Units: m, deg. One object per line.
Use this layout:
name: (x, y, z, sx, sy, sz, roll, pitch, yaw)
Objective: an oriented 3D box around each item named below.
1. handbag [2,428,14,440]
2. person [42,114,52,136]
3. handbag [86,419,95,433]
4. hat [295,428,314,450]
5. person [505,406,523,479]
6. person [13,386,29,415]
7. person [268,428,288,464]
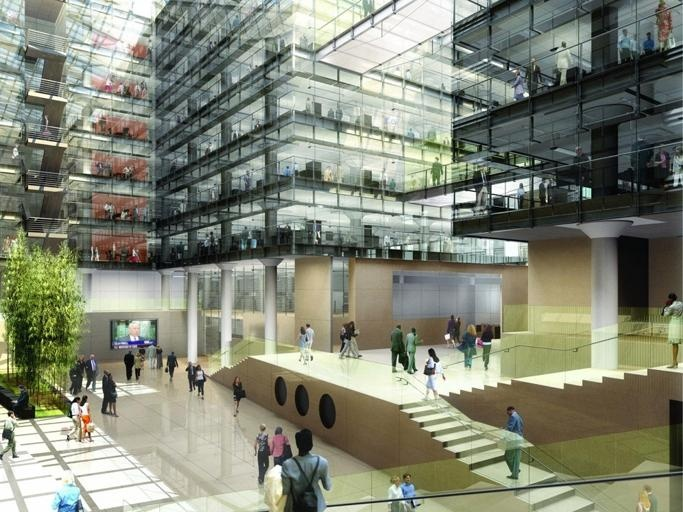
handbag: (-13.734, 7.340, 24.904, 0.427, 0.555, 0.526, 2, 3, -18)
person: (-19.176, -8.487, 39.144, 0.507, 1.555, 1.973, -6, 2, -26)
handbag: (-11.226, 7.647, 27.061, 0.429, 0.646, 0.462, 3, -5, -18)
hat: (-0.794, 3.905, 13.009, 0.337, 0.468, 0.477, 4, 6, 20)
person: (5.822, 6.334, 20.266, 0.606, 1.787, 0.862, -5, 2, 14)
person: (-16.115, 7.228, 30.333, 0.674, 1.671, 1.262, -7, 2, -29)
person: (-2.420, 7.623, 23.559, 0.732, 1.977, 0.528, -4, 11, -26)
